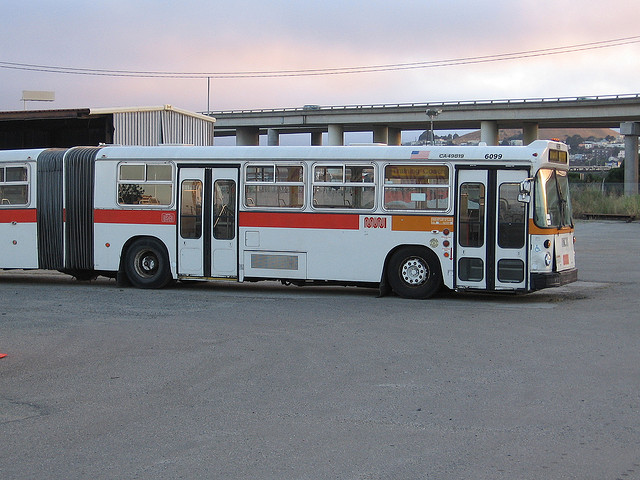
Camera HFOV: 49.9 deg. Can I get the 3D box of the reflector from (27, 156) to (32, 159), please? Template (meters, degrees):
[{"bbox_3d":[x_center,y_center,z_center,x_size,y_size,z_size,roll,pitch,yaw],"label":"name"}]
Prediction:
[{"bbox_3d":[-7.318,-2.081,17.399,0.129,0.064,0.028,1,5,13],"label":"reflector"}]

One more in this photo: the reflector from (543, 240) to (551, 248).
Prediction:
[{"bbox_3d":[4.681,0.075,14.174,0.125,0.143,0.035,5,-7,-26],"label":"reflector"}]

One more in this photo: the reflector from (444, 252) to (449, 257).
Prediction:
[{"bbox_3d":[2.679,0.306,14.604,0.078,0.093,0.017,1,4,11],"label":"reflector"}]

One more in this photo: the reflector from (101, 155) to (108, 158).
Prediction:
[{"bbox_3d":[-5.273,-2.046,16.855,0.151,0.062,0.014,1,5,12],"label":"reflector"}]

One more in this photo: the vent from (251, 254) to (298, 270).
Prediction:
[{"bbox_3d":[-1.030,0.489,15.617,1.094,0.319,0.050,1,5,13],"label":"vent"}]
